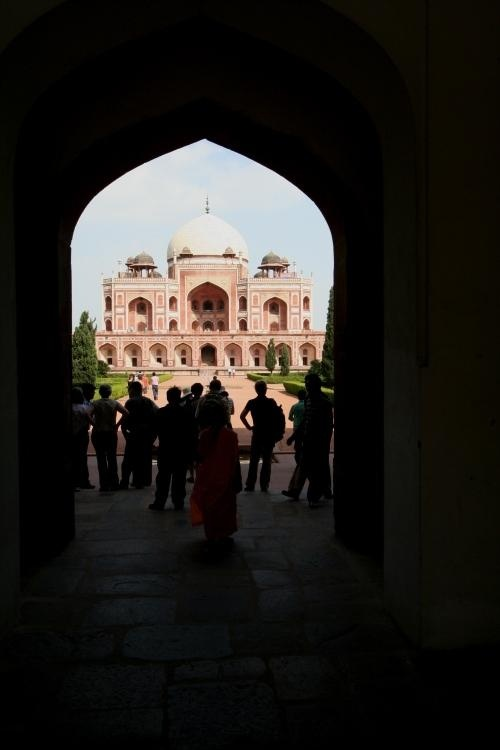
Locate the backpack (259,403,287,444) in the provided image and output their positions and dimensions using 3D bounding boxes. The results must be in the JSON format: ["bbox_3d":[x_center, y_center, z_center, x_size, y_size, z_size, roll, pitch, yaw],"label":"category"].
[{"bbox_3d":[0.164,0.372,4.859,0.156,0.273,0.068,-9,12,-36],"label":"backpack"}]
